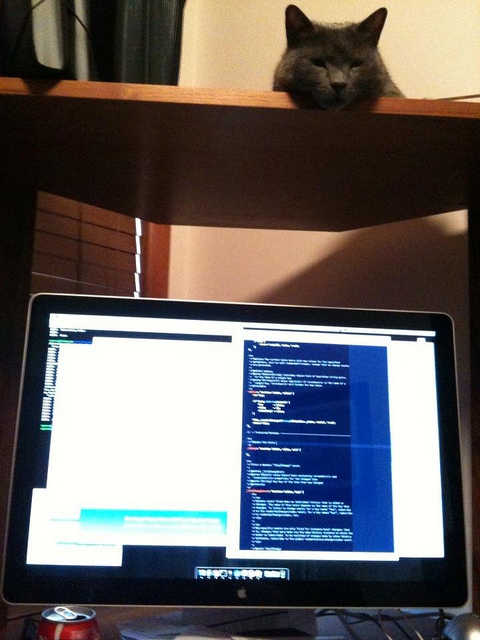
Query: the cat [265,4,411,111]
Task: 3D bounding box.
[{"bbox_3d":[0.121,-0.299,0.868,0.125,0.132,0.181,-1,15,-1],"label":"cat"}]
